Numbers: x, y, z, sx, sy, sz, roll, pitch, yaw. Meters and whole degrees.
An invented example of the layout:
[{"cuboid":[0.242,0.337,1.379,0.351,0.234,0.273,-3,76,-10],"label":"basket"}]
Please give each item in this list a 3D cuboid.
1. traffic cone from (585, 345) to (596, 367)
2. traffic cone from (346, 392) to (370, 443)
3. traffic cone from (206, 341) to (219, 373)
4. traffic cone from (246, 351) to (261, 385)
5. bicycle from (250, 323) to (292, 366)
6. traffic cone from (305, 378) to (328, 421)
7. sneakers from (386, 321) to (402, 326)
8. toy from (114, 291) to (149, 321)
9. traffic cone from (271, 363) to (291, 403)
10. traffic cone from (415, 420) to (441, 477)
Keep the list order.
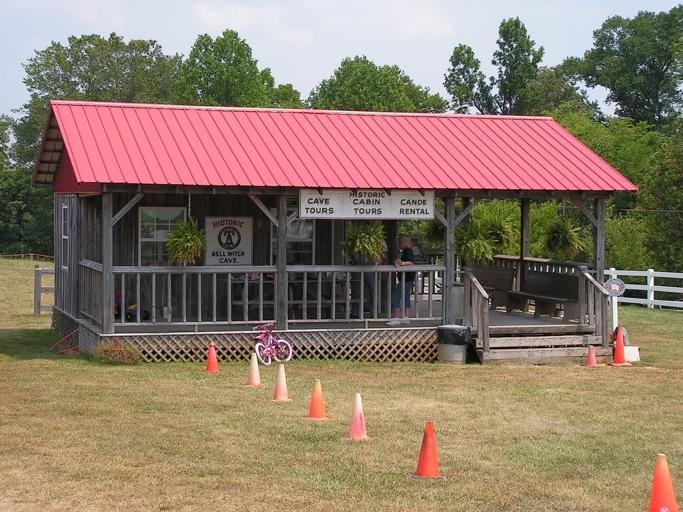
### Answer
[{"cuboid":[5.742,2.360,24.014,0.319,0.509,0.342,0,-2,-30],"label":"traffic cone"},{"cuboid":[0.277,2.812,17.924,0.561,1.009,0.625,0,0,-5],"label":"traffic cone"},{"cuboid":[-2.797,2.163,22.489,0.279,0.651,1.037,0,11,-8],"label":"traffic cone"},{"cuboid":[-1.781,2.358,21.089,0.440,0.747,0.496,0,-4,-9],"label":"traffic cone"},{"cuboid":[-1.569,1.953,23.219,0.988,0.826,0.858,-3,11,-25],"label":"bicycle"},{"cuboid":[-0.569,2.676,18.976,0.506,0.889,0.582,1,-4,-11],"label":"traffic cone"},{"cuboid":[1.263,1.574,24.345,0.249,0.123,0.138,4,-2,-18],"label":"sneakers"},{"cuboid":[-5.031,1.220,24.783,0.778,0.848,0.600,-2,2,-34],"label":"toy"},{"cuboid":[-1.268,2.490,20.139,0.496,0.842,0.550,1,-4,-10],"label":"traffic cone"},{"cuboid":[1.404,3.031,16.592,0.387,0.987,0.754,2,9,5],"label":"traffic cone"}]
